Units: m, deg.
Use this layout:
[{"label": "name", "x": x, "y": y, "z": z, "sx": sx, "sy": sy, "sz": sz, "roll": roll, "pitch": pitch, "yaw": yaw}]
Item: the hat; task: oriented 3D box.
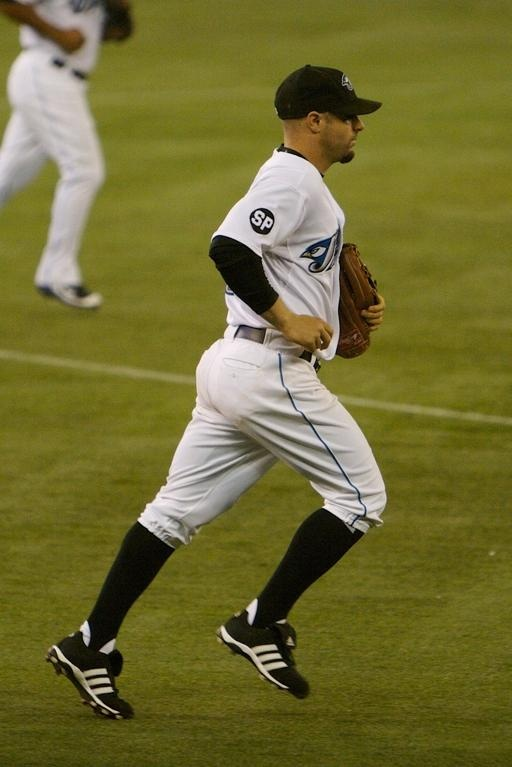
[{"label": "hat", "x": 0.168, "y": -0.696, "z": 2.314, "sx": 0.258, "sy": 0.100, "sz": 0.140, "roll": -2, "pitch": 26, "yaw": 9}]

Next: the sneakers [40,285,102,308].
[{"label": "sneakers", "x": -1.146, "y": -0.545, "z": 6.154, "sx": 0.244, "sy": 0.059, "sz": 0.186, "roll": 16, "pitch": -10, "yaw": -33}]

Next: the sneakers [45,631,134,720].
[{"label": "sneakers", "x": -0.374, "y": 0.663, "z": 2.215, "sx": 0.093, "sy": 0.171, "sz": 0.194, "roll": -13, "pitch": 17, "yaw": -43}]

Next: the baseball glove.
[{"label": "baseball glove", "x": 0.244, "y": -0.190, "z": 2.426, "sx": 0.117, "sy": 0.235, "sz": 0.185, "roll": -4, "pitch": 23, "yaw": 10}]

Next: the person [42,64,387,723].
[{"label": "person", "x": -0.059, "y": 0.002, "z": 2.260, "sx": 0.841, "sy": 1.468, "sz": 0.419, "roll": -4, "pitch": 13, "yaw": -15}]

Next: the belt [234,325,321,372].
[{"label": "belt", "x": 0.075, "y": -0.081, "z": 2.314, "sx": 0.244, "sy": 0.122, "sz": 0.116, "roll": -11, "pitch": 16, "yaw": -43}]
